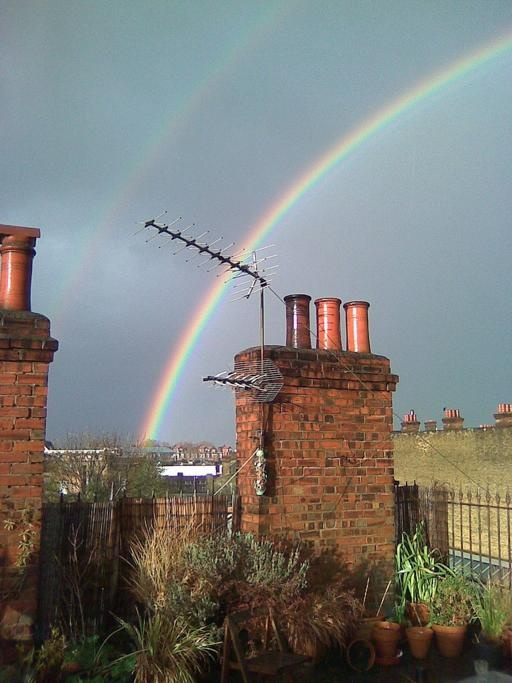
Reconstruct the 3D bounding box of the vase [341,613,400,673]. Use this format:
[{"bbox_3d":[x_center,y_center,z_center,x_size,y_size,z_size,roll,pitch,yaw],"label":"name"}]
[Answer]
[{"bbox_3d":[1.008,2.681,6.053,0.677,0.350,0.332,9,-12,-42],"label":"vase"}]
